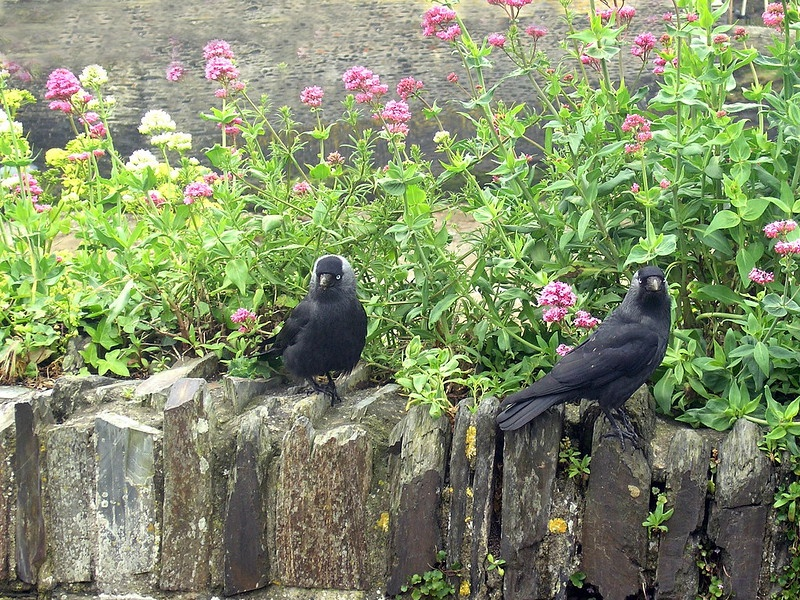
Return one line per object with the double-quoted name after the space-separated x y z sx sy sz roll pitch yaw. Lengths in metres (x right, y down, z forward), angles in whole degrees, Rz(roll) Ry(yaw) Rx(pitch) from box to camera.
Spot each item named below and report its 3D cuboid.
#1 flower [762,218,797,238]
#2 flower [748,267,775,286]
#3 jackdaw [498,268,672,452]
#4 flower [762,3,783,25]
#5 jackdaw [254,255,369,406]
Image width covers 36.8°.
1.802 -0.350 5.666 0.111 0.073 0.110 -11 18 31 "flower"
1.756 -0.109 5.832 0.117 0.060 0.112 0 0 -15 "flower"
0.913 0.241 5.944 0.855 0.781 0.481 1 2 17 "jackdaw"
1.908 -1.439 6.086 0.114 0.110 0.108 1 6 -4 "flower"
-0.444 0.093 6.381 0.513 0.640 0.253 -3 4 -6 "jackdaw"
